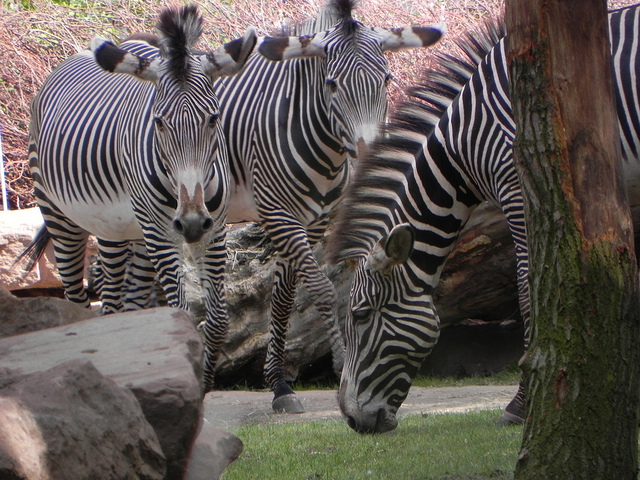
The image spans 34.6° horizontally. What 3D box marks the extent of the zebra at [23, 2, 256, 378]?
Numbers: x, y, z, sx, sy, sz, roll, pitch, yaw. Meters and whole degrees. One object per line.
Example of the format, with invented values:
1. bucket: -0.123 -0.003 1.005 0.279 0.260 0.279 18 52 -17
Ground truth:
1. zebra: -1.521 -0.345 8.260 1.046 2.811 3.339 -3 6 -30

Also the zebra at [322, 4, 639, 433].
1. zebra: 0.690 -0.100 6.968 1.266 2.871 0.799 0 5 0
